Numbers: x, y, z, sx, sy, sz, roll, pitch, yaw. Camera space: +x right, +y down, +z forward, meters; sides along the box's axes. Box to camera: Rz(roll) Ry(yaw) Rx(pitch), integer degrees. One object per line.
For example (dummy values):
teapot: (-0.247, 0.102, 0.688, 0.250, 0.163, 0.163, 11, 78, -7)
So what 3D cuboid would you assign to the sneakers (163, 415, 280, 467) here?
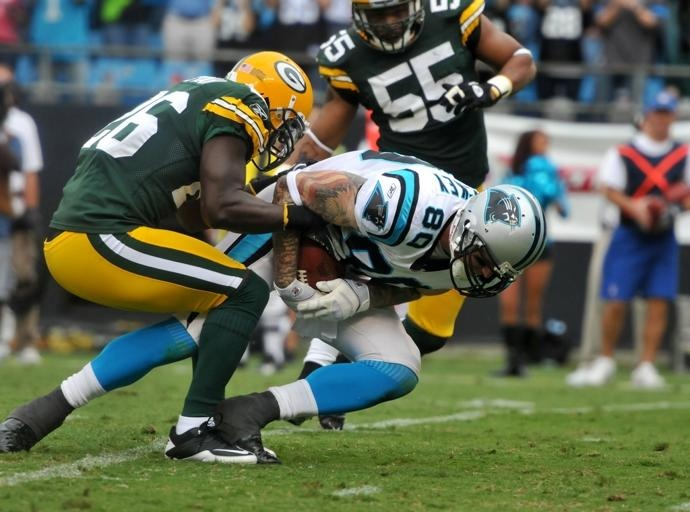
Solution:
sneakers: (-0.549, 0.858, 4.527, 0.517, 0.179, 0.194, 1, -9, 2)

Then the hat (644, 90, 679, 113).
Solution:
hat: (2.454, -1.177, 7.738, 0.314, 0.124, 0.414, 2, 10, 8)

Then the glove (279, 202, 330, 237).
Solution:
glove: (-0.184, -0.161, 4.436, 0.169, 0.087, 0.119, 10, 7, -17)

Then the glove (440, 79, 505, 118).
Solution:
glove: (0.663, -0.821, 5.157, 0.335, 0.187, 0.238, 6, 5, 4)

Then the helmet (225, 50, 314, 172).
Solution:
helmet: (-0.362, -0.686, 4.665, 0.401, 0.578, 0.378, 5, 6, -18)

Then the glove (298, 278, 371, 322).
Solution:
glove: (-0.045, 0.201, 4.528, 0.297, 0.129, 0.181, 1, 6, -10)

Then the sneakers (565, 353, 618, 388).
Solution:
sneakers: (1.928, 0.915, 7.785, 0.392, 0.149, 0.203, -14, 14, -23)
